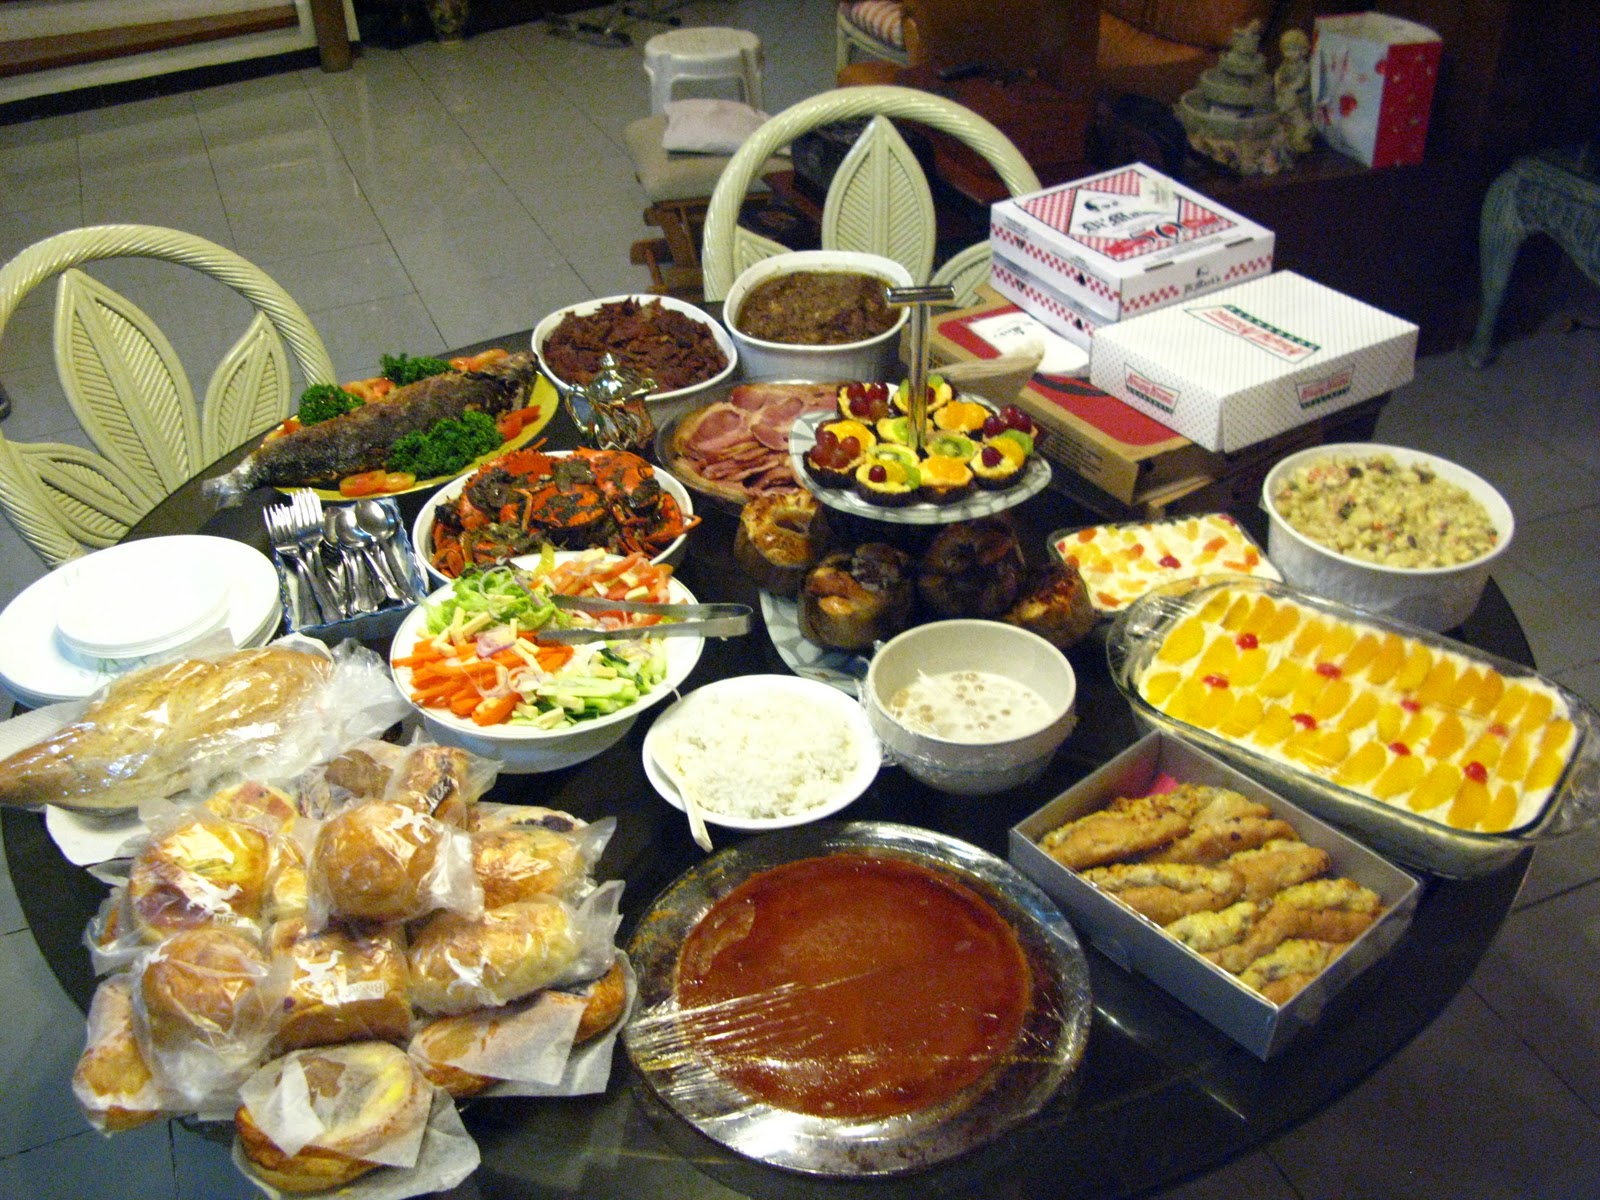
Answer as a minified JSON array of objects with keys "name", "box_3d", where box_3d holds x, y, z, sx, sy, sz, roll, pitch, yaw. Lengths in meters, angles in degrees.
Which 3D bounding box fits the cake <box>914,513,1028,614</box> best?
[{"name":"cake","box_3d":[0.242,-0.053,1.675,0.119,0.053,0.144,3,55,0]}]

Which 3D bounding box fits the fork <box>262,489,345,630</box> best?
[{"name":"fork","box_3d":[-0.752,-0.057,1.814,0.099,0.038,0.255,-15,58,-15]}]

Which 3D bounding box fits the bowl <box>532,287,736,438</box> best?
[{"name":"bowl","box_3d":[-0.285,-0.458,2.192,0.342,0.120,0.326,0,43,0]}]

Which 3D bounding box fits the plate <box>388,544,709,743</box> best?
[{"name":"plate","box_3d":[-0.336,0.066,1.629,0.301,0.077,0.286,-15,41,-21]}]

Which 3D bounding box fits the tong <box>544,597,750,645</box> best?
[{"name":"tong","box_3d":[-0.184,0.046,1.669,0.330,0.043,0.094,0,38,-5]}]

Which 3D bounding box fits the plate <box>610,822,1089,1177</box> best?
[{"name":"plate","box_3d":[0.066,0.433,1.360,0.515,0.056,0.411,-7,44,-2]}]

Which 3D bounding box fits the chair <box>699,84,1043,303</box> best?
[{"name":"chair","box_3d":[0.135,-0.903,2.797,0.767,0.504,0.556,-9,45,-3]}]

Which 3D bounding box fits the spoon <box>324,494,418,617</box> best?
[{"name":"spoon","box_3d":[-0.647,-0.063,1.808,0.123,0.034,0.191,-12,71,-11]}]
